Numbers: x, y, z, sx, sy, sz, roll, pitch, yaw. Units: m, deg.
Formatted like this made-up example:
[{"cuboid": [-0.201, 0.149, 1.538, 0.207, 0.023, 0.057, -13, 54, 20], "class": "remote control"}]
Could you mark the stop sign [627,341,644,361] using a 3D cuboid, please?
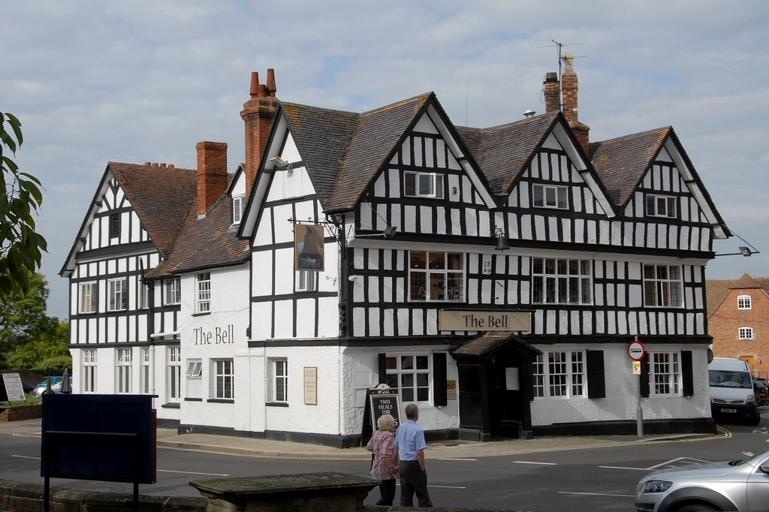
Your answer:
[{"cuboid": [9.614, 3.608, 40.021, 0.589, 0.794, 0.209, -5, -8, 27], "class": "stop sign"}]

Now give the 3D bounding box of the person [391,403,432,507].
[{"cuboid": [0.671, 4.697, 24.969, 0.761, 2.384, 1.197, -2, -10, 2], "class": "person"}]

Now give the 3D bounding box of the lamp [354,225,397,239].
[{"cuboid": [-0.114, -0.773, 36.612, 1.047, 0.354, 0.589, 3, -2, 23], "class": "lamp"}]

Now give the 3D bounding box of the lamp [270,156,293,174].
[{"cuboid": [-3.856, -3.380, 39.419, 0.626, 0.798, 0.807, 23, -4, -7], "class": "lamp"}]

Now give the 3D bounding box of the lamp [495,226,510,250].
[{"cuboid": [4.242, -0.589, 38.183, 0.774, 0.796, 0.759, -2, -17, 6], "class": "lamp"}]

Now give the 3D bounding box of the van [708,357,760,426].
[{"cuboid": [15.345, 5.973, 46.384, 1.945, 2.914, 3.215, -5, -10, 16], "class": "van"}]
